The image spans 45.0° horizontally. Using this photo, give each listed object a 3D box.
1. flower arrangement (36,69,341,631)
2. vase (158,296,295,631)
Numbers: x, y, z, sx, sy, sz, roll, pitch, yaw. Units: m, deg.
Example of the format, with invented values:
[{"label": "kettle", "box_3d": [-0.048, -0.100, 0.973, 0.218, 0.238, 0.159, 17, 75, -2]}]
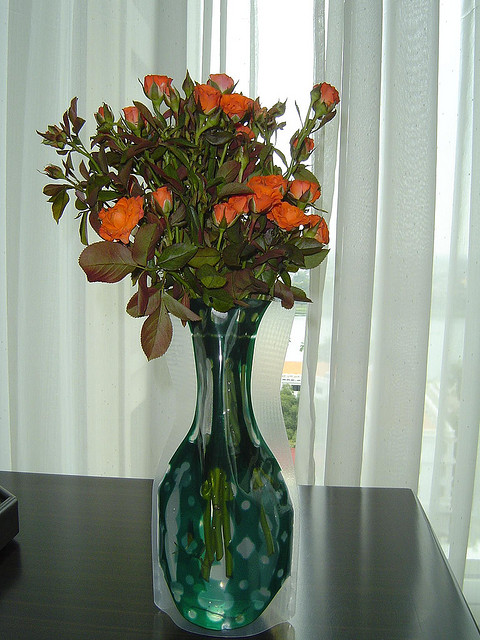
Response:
[{"label": "flower arrangement", "box_3d": [-0.058, 0.026, 0.516, 0.276, 0.489, 0.188, 1, 3, 11]}, {"label": "vase", "box_3d": [-0.013, 0.124, 0.507, 0.121, 0.288, 0.052, 1, 3, 6]}]
